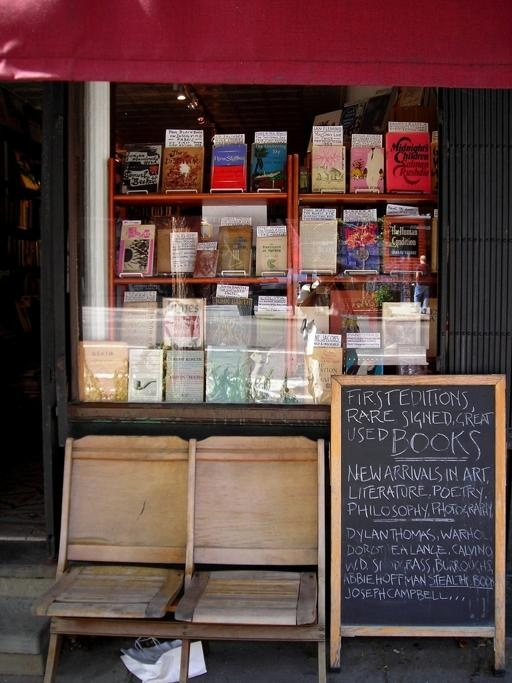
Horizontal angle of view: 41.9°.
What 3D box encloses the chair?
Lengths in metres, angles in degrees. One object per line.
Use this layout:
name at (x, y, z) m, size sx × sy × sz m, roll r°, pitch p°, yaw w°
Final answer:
chair at (-0.291, 0.901, 2.798) m, size 1.162 × 0.946 × 0.681 m, roll 0°, pitch 3°, yaw 5°
